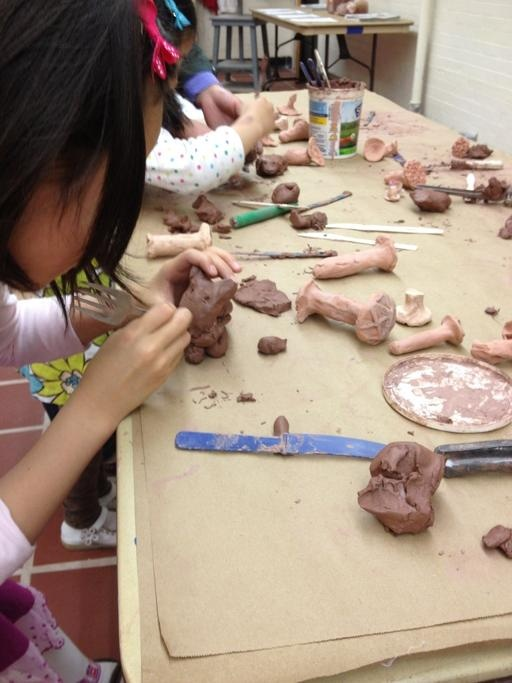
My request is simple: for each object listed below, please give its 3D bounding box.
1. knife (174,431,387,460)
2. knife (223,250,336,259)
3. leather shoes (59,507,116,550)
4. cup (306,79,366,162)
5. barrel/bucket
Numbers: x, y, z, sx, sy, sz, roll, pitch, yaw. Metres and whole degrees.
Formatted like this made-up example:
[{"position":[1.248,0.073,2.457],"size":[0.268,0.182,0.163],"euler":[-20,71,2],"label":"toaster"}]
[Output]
[{"position":[0.036,0.140,0.794],"size":[0.247,0.022,0.030],"euler":[-1,50,10],"label":"knife"},{"position":[0.058,-0.193,1.320],"size":[0.226,0.017,0.057],"euler":[-2,12,-2],"label":"knife"},{"position":[-0.436,0.513,1.632],"size":[0.209,0.080,0.095],"euler":[3,17,-25],"label":"leather shoes"},{"position":[0.255,-0.701,1.872],"size":[0.181,0.189,0.189],"euler":[-2,28,1],"label":"cup"},{"position":[0.262,-0.696,1.878],"size":[0.197,0.188,0.191],"euler":[0,25,0],"label":"barrel/bucket"}]
